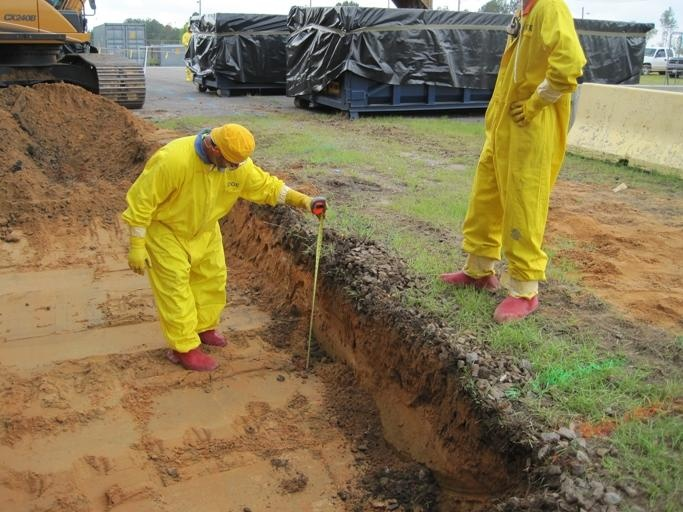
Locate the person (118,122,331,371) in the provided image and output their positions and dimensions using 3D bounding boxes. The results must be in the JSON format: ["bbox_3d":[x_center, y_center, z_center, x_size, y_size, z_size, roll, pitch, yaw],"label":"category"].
[{"bbox_3d":[-1.165,-0.049,4.977,1.332,2.158,0.500,-3,22,-17],"label":"person"}]

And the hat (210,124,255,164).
[{"bbox_3d":[-0.896,-0.902,4.640,0.333,0.305,0.235,-1,20,-12],"label":"hat"}]

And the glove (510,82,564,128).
[{"bbox_3d":[1.405,-1.100,4.197,0.274,0.352,0.126,8,58,-34],"label":"glove"}]
